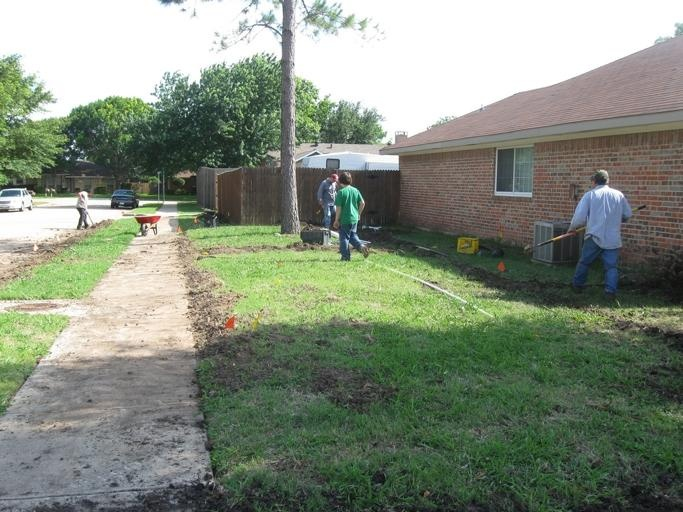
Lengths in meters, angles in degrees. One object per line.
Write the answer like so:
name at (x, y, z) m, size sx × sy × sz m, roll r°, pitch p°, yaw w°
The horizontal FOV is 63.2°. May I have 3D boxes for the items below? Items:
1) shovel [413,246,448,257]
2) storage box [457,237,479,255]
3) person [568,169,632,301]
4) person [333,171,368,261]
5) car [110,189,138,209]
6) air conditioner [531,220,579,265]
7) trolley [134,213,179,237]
shovel at (2.075, -0.109, 13.172) m, size 0.662 × 0.071 × 1.562 m, roll 0°, pitch 11°, yaw 0°
storage box at (2.975, -0.236, 13.006) m, size 0.397 × 0.314 × 0.413 m, roll 2°, pitch 4°, yaw 20°
person at (4.075, -0.370, 8.737) m, size 0.833 × 1.876 × 0.841 m, roll 5°, pitch 12°, yaw 29°
person at (0.208, -0.843, 11.831) m, size 0.676 × 1.844 × 0.961 m, roll -1°, pitch 10°, yaw -1°
car at (-15.171, -3.993, 38.899) m, size 1.167 × 0.893 × 2.650 m, roll -1°, pitch 12°, yaw -13°
air conditioner at (4.644, -0.300, 11.732) m, size 0.886 × 0.951 × 0.677 m, roll -3°, pitch 10°, yaw -15°
trolley at (-5.948, -0.991, 17.074) m, size 0.812 × 0.620 × 1.398 m, roll 0°, pitch 0°, yaw 2°
